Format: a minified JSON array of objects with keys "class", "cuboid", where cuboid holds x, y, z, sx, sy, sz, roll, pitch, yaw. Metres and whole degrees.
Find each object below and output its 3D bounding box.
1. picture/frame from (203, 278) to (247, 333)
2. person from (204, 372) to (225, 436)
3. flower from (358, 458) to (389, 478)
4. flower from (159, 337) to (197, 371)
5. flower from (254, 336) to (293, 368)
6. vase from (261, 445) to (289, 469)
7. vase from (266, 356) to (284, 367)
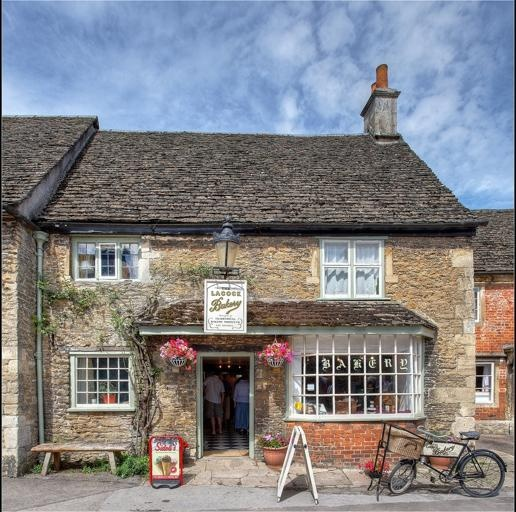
[{"class":"picture/frame","cuboid":[-0.684,0.992,19.079,0.835,1.060,0.239,1,-5,-17]},{"class":"person","cuboid":[-1.085,3.542,22.716,0.478,1.402,0.417,0,-9,-22]},{"class":"flower","cuboid":[2.296,4.344,19.284,0.486,0.285,0.502,-1,-5,16]},{"class":"flower","cuboid":[-1.722,2.076,20.266,0.760,0.716,0.637,-1,-5,-5]},{"class":"flower","cuboid":[0.336,2.059,20.235,0.695,0.767,0.596,1,-8,-6]},{"class":"vase","cuboid":[0.320,4.260,20.061,0.469,0.363,0.483,1,-18,1]},{"class":"vase","cuboid":[0.346,2.279,20.363,0.389,0.240,0.488,-1,-5,1]}]
